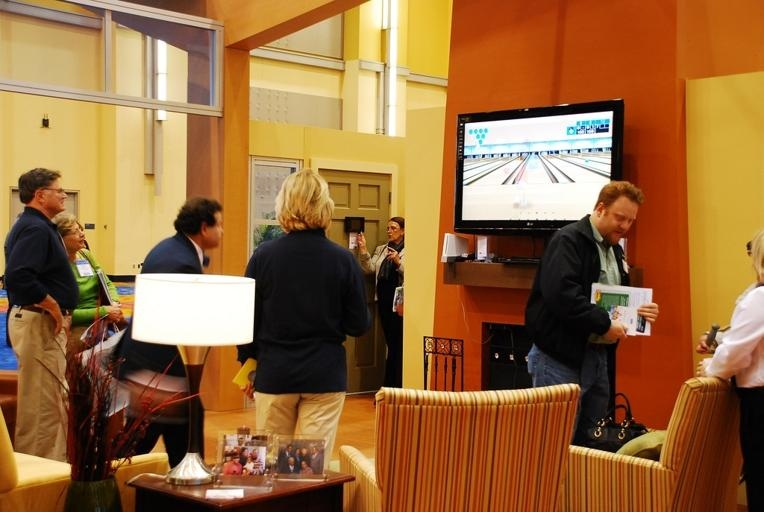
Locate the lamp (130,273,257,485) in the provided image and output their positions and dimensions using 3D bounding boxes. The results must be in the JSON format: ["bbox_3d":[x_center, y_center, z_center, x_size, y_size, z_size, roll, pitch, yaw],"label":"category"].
[{"bbox_3d":[-0.885,0.568,3.201,0.548,0.931,0.327,0,4,-15],"label":"lamp"}]

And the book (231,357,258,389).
[{"bbox_3d":[-0.800,0.699,3.949,0.041,0.185,0.173,29,-32,9],"label":"book"}]

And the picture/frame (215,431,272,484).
[{"bbox_3d":[-0.641,0.958,3.198,0.207,0.208,0.079,0,-4,2],"label":"picture/frame"}]

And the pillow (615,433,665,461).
[{"bbox_3d":[1.473,1.055,3.808,0.175,0.056,0.147,-17,3,-33],"label":"pillow"}]

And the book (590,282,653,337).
[{"bbox_3d":[1.481,0.339,4.137,0.405,0.307,0.108,5,-7,2],"label":"book"}]

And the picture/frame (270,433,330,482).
[{"bbox_3d":[-0.400,0.974,3.261,0.196,0.178,0.034,1,-1,-2],"label":"picture/frame"}]

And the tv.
[{"bbox_3d":[1.211,-0.574,5.182,1.243,0.956,0.104,-1,-4,28],"label":"tv"}]
